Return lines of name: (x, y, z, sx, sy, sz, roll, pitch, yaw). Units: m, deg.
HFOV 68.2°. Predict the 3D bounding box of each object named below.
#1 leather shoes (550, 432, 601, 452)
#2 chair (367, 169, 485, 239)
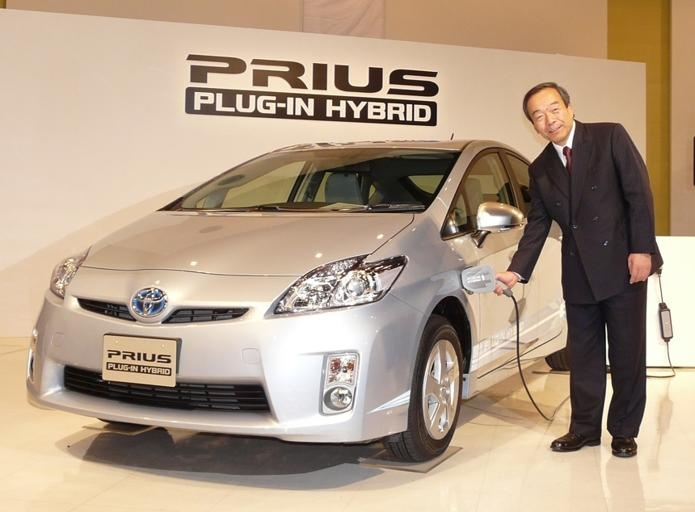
leather shoes: (1.180, 0.933, 2.654, 0.260, 0.117, 0.095, 2, -3, -17)
chair: (0.488, -0.257, 2.803, 0.334, 0.284, 0.595, 1, 3, 30)
